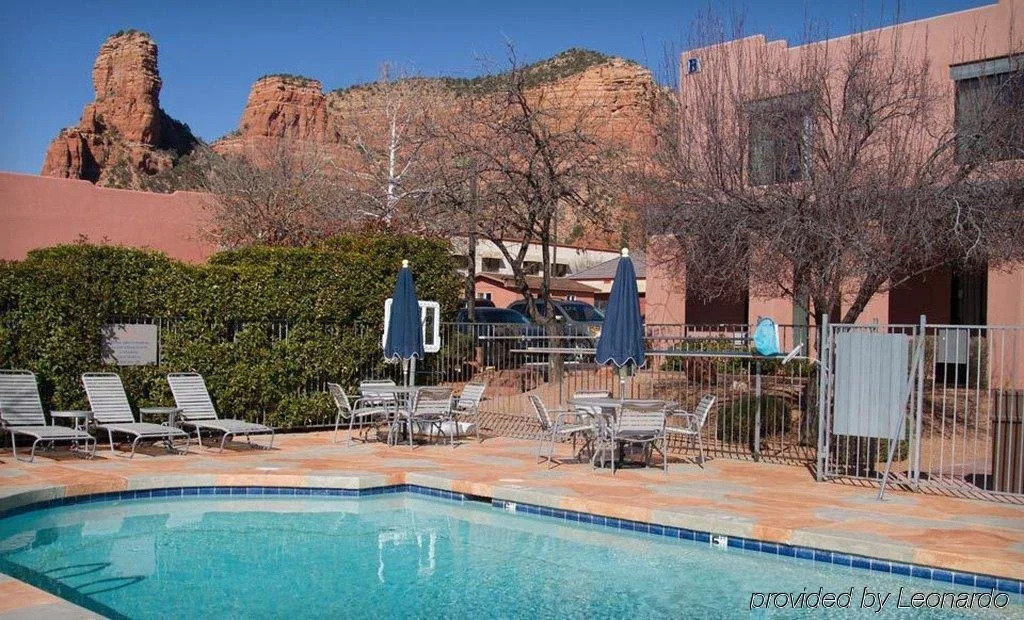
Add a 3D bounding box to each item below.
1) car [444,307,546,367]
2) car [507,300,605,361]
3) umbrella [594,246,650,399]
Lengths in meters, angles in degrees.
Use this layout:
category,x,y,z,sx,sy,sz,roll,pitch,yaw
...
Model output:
category,x,y,z,sx,sy,sz,roll,pitch,yaw
car,-0.312,0.736,30.892,3.480,1.738,1.634,-1,14,33
car,1.947,0.586,33.484,3.446,1.705,1.971,-4,-4,30
umbrella,2.453,0.348,20.052,1.075,2.985,1.231,-2,-1,8
